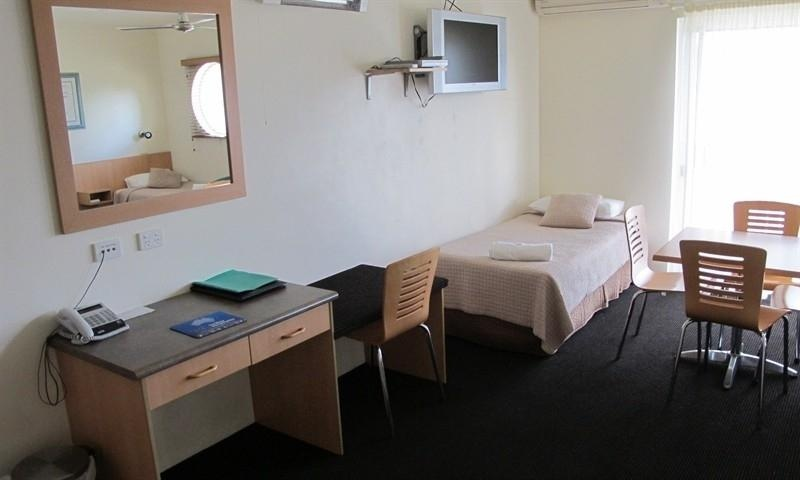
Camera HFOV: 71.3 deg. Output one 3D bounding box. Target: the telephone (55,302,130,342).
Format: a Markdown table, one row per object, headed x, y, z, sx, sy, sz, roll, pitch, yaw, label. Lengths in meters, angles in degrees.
| x | y | z | sx | sy | sz | roll | pitch | yaw | label |
| --- | --- | --- | --- | --- | --- | --- | --- | --- | --- |
| -1.817 | 0.486 | 3.284 | 0.249 | 0.138 | 0.268 | 14 | 15 | 12 | telephone |

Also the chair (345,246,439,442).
| x | y | z | sx | sy | sz | roll | pitch | yaw | label |
| --- | --- | --- | --- | --- | --- | --- | --- | --- | --- |
| 0.037 | 0.673 | 4.123 | 0.733 | 1.256 | 0.407 | -19 | 25 | -40 | chair |

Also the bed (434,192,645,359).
| x | y | z | sx | sy | sz | roll | pitch | yaw | label |
| --- | --- | --- | --- | --- | --- | --- | --- | --- | --- |
| 1.450 | 0.252 | 5.722 | 1.462 | 0.778 | 2.597 | 10 | 20 | 31 | bed |

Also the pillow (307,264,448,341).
| x | y | z | sx | sy | sz | roll | pitch | yaw | label |
| --- | --- | --- | --- | --- | --- | --- | --- | --- | --- |
| -0.295 | 0.413 | 4.090 | 0.545 | 0.181 | 0.809 | -17 | 22 | -40 | pillow |

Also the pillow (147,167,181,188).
| x | y | z | sx | sy | sz | roll | pitch | yaw | label |
| --- | --- | --- | --- | --- | --- | --- | --- | --- | --- |
| -1.527 | -0.401 | 3.582 | 0.148 | 0.134 | 0.044 | 4 | 1 | -31 | pillow |

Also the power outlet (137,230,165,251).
| x | y | z | sx | sy | sz | roll | pitch | yaw | label |
| --- | --- | --- | --- | --- | --- | --- | --- | --- | --- |
| -1.600 | 0.002 | 3.564 | 0.040 | 0.102 | 0.124 | 6 | 13 | 40 | power outlet |

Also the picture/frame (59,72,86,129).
| x | y | z | sx | sy | sz | roll | pitch | yaw | label |
| --- | --- | --- | --- | --- | --- | --- | --- | --- | --- |
| -1.913 | -0.811 | 3.270 | 0.116 | 0.320 | 0.053 | -13 | 21 | -27 | picture/frame |

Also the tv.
| x | y | z | sx | sy | sz | roll | pitch | yaw | label |
| --- | --- | --- | --- | --- | --- | --- | --- | --- | --- |
| 0.667 | -1.744 | 5.185 | 0.240 | 0.706 | 1.111 | 10 | 22 | 34 | tv |
